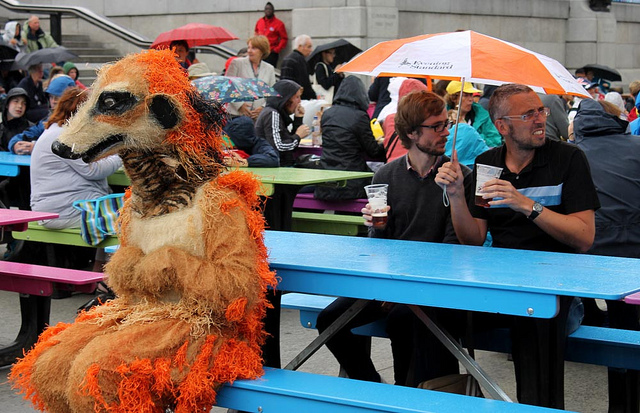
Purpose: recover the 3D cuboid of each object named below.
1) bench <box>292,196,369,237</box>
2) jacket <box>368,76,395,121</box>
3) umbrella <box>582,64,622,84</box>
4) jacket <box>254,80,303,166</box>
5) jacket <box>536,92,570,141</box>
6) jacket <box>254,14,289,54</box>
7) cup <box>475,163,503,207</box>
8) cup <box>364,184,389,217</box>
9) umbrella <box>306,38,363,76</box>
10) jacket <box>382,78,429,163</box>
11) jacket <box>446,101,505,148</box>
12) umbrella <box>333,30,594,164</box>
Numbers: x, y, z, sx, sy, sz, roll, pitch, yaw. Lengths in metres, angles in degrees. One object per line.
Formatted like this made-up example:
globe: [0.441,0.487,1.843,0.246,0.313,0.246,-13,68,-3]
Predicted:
bench: [0.078,0.145,8.495,0.640,0.139,0.655,4,13,19]
jacket: [1.146,-2.006,12.524,0.406,1.107,0.369,-21,-46,38]
umbrella: [8.164,-3.771,19.442,0.859,0.494,0.828,21,2,-13]
jacket: [-0.565,-1.119,9.260,0.578,1.338,0.610,-10,49,-5]
jacket: [3.371,-1.340,9.525,0.460,0.723,0.815,0,18,21]
jacket: [-1.455,-5.016,19.474,1.156,0.990,0.573,18,32,22]
cup: [1.141,-0.138,4.647,0.157,0.287,0.120,5,12,12]
cup: [0.400,-0.039,4.798,0.235,0.243,0.199,-4,-4,-4]
umbrella: [0.441,-3.437,14.929,0.953,0.299,0.896,-24,-19,-20]
jacket: [1.088,-1.192,8.794,0.889,0.633,1.498,-3,24,1]
jacket: [2.162,-1.121,9.519,0.772,0.442,0.956,-8,19,-20]
umbrella: [0.989,-0.741,4.800,1.197,0.576,1.093,0,-21,-37]
